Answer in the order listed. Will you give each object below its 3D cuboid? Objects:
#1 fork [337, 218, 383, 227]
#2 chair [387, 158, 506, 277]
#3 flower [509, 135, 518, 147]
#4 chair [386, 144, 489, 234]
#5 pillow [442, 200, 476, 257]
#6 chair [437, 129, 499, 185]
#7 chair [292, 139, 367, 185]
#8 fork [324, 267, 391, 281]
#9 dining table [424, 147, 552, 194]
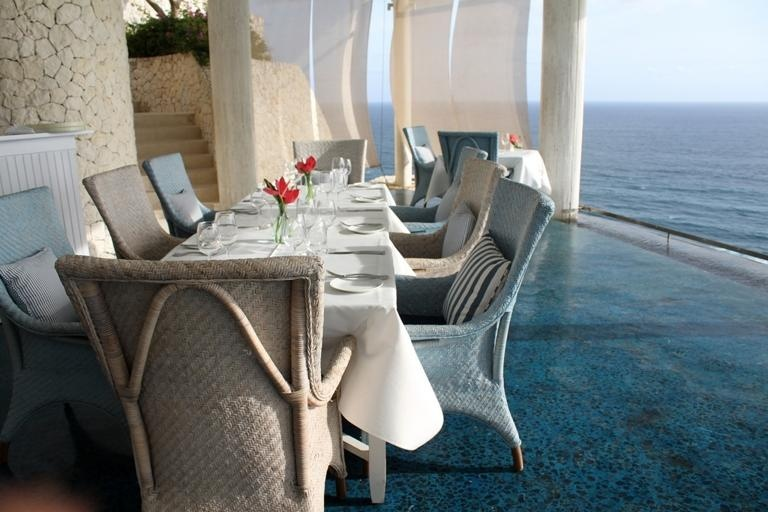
[{"bbox_3d":[-0.145,-0.202,3.153,0.220,0.032,0.049,5,44,-5],"label":"fork"},{"bbox_3d":[0.267,-0.314,3.553,0.733,0.794,0.595,8,24,13],"label":"chair"},{"bbox_3d":[1.774,-1.594,7.180,0.148,0.058,0.155,5,35,8],"label":"flower"},{"bbox_3d":[0.186,-0.593,4.154,0.576,0.476,0.651,-27,5,-12],"label":"chair"},{"bbox_3d":[0.461,-0.159,3.171,0.130,0.329,0.360,17,12,-8],"label":"pillow"},{"bbox_3d":[1.018,-1.087,5.961,0.648,0.850,0.611,5,27,25],"label":"chair"},{"bbox_3d":[-0.560,-0.965,5.528,0.619,0.688,0.609,2,7,33],"label":"chair"},{"bbox_3d":[-0.117,0.080,2.322,0.303,0.035,0.034,2,30,8],"label":"fork"},{"bbox_3d":[1.264,-1.071,6.961,1.641,0.531,1.696,-6,18,-40],"label":"dining table"}]
